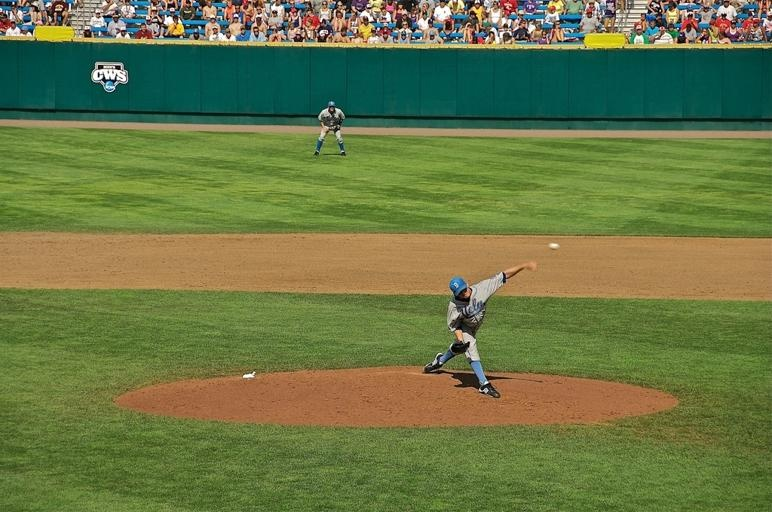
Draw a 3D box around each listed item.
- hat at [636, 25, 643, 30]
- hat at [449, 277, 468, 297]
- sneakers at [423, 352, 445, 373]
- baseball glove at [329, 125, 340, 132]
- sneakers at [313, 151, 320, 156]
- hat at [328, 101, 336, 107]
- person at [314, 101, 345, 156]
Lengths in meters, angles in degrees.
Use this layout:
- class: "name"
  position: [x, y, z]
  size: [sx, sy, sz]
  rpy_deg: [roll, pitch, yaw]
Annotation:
- class: "hat"
  position: [9.609, -8.704, 54.666]
  size: [0.203, 0.109, 0.295]
  rpy_deg: [-5, 3, 7]
- class: "hat"
  position: [1.627, 0.644, 32.194]
  size: [0.324, 0.256, 0.445]
  rpy_deg: [-33, 15, 14]
- class: "sneakers"
  position: [1.140, 2.493, 33.108]
  size: [0.241, 0.666, 0.284]
  rpy_deg: [30, 19, -14]
- class: "baseball glove"
  position: [-1.793, -4.434, 49.960]
  size: [0.297, 0.257, 0.557]
  rpy_deg: [1, 7, -14]
- class: "sneakers"
  position: [-2.365, -3.605, 50.394]
  size: [0.169, 0.106, 0.169]
  rpy_deg: [-15, 8, -24]
- class: "hat"
  position: [-1.821, -5.314, 49.938]
  size: [0.386, 0.234, 0.613]
  rpy_deg: [0, 5, -3]
- class: "person"
  position: [-1.925, -4.412, 49.874]
  size: [1.040, 1.906, 0.842]
  rpy_deg: [-1, 20, -5]
